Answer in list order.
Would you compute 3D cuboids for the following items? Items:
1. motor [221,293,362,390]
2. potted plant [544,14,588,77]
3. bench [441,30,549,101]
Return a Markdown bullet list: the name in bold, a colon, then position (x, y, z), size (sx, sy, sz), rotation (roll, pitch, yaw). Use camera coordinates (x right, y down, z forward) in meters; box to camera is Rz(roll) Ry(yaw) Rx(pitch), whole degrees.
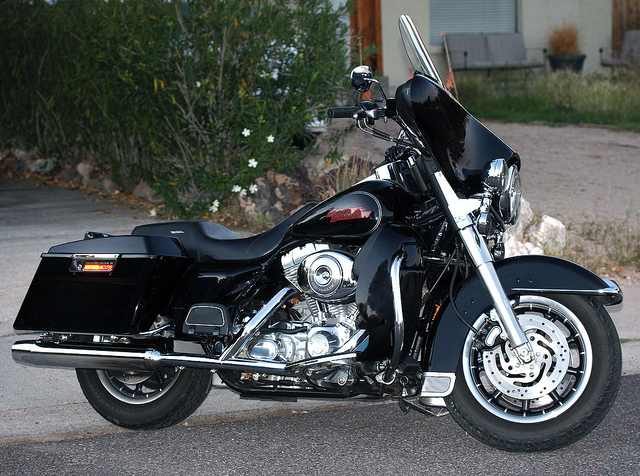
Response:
- **motor**: position (-0.202, 0.741, 5.298), size (0.988, 0.657, 0.548), rotation (2, -2, 8)
- **potted plant**: position (2.927, -2.157, 8.556), size (0.456, 0.875, 0.384), rotation (2, -2, -39)
- **bench**: position (4.180, -4.149, 17.428), size (2.246, 1.684, 1.436), rotation (-3, 10, -4)
